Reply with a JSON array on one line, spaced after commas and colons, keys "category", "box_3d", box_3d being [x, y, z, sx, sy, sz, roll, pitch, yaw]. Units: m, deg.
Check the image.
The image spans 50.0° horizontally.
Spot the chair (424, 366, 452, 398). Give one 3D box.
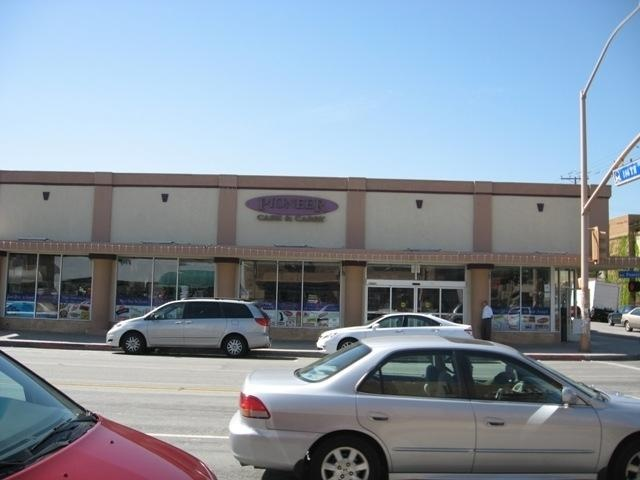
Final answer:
[{"category": "chair", "box_3d": [1.703, 1.969, 9.508, 0.365, 0.414, 0.322, -13, 5, 36]}]

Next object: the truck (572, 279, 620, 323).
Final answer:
[{"category": "truck", "box_3d": [18.907, 3.963, 45.679, 1.767, 2.747, 0.946, 0, -3, 10]}]

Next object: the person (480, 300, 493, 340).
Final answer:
[{"category": "person", "box_3d": [6.171, 2.946, 25.345, 0.428, 1.413, 1.111, 0, -4, 14]}]

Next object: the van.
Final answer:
[{"category": "van", "box_3d": [-3.885, 2.645, 21.202, 4.618, 1.623, 1.983, 3, -8, 0]}]
